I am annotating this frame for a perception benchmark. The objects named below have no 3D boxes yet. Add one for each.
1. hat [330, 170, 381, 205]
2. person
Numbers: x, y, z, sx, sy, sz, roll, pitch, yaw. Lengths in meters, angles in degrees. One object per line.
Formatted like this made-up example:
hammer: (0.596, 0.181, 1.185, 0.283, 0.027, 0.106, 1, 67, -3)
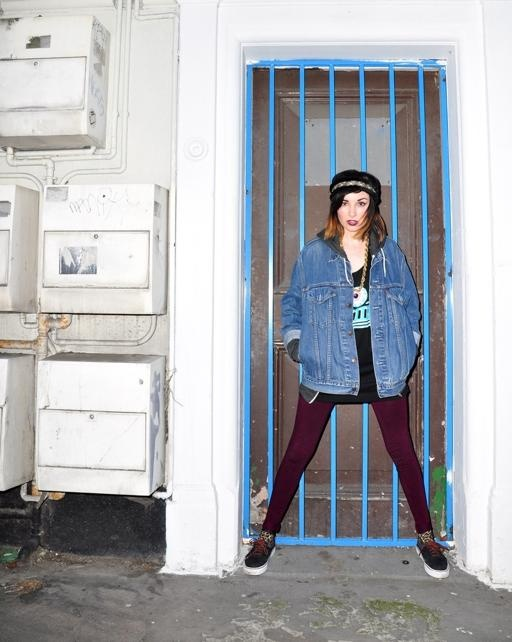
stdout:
hat: (0.404, -0.549, 3.358, 0.118, 0.124, 0.161, 2, -1, 0)
person: (0.354, 0.235, 3.287, 0.666, 1.864, 0.359, 1, -26, 4)
